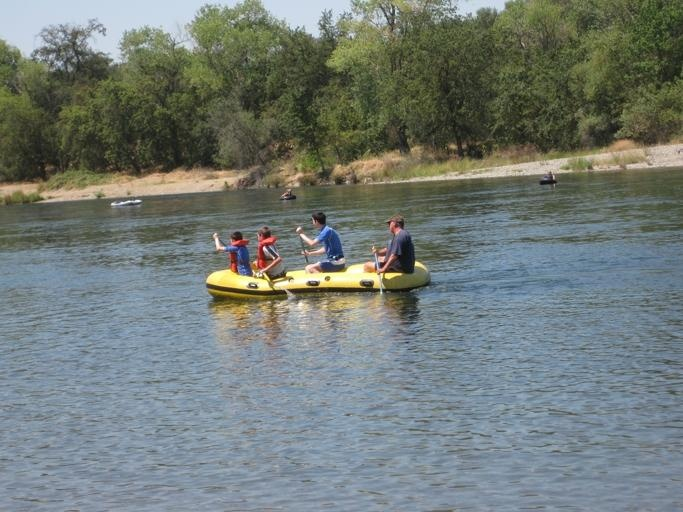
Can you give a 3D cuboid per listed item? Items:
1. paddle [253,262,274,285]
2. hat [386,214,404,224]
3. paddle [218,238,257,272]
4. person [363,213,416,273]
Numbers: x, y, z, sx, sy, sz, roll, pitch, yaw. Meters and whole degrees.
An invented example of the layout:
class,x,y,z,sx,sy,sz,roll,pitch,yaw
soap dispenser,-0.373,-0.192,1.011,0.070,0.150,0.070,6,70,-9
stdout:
class,x,y,z,sx,sy,sz,roll,pitch,yaw
paddle,-2.151,0.532,33.727,0.588,0.565,0.243,-1,11,4
hat,1.289,-1.161,32.981,0.664,0.236,0.461,-7,0,16
paddle,-2.949,0.032,34.498,1.145,1.232,0.879,-10,15,-27
person,1.268,-0.328,33.113,1.150,1.806,0.837,3,13,36
